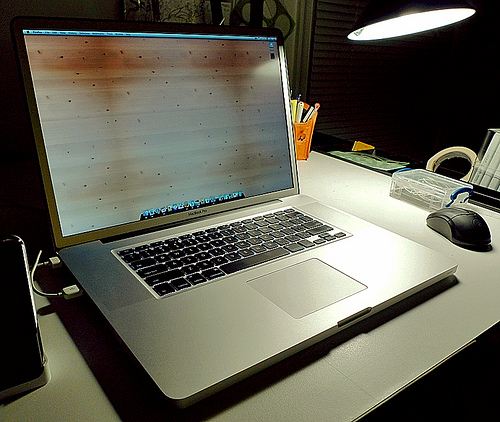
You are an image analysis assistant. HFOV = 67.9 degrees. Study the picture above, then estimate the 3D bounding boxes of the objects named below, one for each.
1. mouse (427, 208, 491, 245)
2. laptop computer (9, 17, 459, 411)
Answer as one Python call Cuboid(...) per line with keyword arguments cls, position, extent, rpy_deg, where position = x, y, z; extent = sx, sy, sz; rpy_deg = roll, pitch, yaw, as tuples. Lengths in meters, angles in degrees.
Cuboid(cls="mouse", position=(0.407, 0.031, 0.729), extent=(0.058, 0.036, 0.100), rpy_deg=(-6, 25, -16))
Cuboid(cls="laptop computer", position=(-0.014, -0.083, 0.564), extent=(0.540, 0.372, 0.496), rpy_deg=(-20, 35, -32))
